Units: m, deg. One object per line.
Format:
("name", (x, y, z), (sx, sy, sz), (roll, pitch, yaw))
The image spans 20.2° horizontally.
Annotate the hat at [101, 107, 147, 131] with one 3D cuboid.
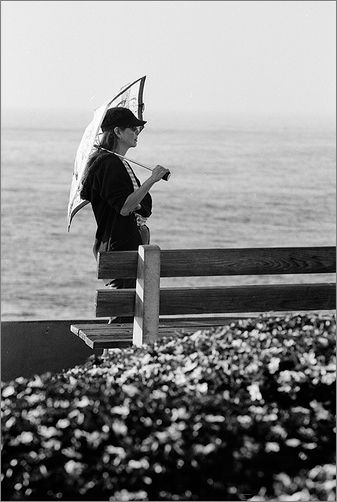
("hat", (-0.265, -0.762, 5.438), (0.198, 0.113, 0.136), (-19, 14, -1))
